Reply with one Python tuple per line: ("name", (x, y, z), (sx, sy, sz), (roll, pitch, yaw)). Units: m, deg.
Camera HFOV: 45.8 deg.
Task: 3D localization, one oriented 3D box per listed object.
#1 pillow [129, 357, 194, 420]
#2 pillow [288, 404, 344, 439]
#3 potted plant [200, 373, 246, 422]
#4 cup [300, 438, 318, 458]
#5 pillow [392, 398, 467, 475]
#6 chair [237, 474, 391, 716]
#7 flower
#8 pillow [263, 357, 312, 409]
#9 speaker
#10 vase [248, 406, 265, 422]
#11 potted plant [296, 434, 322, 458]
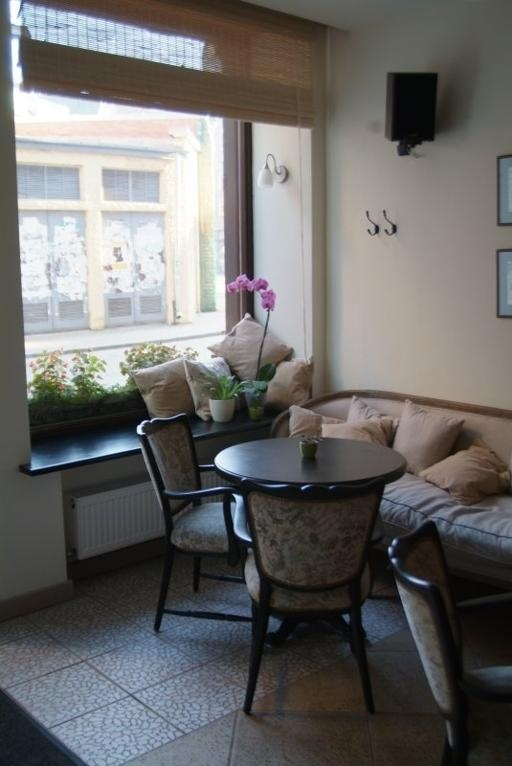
("pillow", (-0.576, 0.044, 3.672), (0.149, 0.251, 0.296), (6, 26, 42))
("pillow", (0.316, 0.193, 3.600), (0.207, 0.064, 0.213), (19, 38, 11))
("potted plant", (-0.203, 0.110, 3.756), (0.207, 0.248, 0.199), (-2, 2, 15))
("cup", (0.219, 0.262, 2.479), (0.062, 0.062, 0.073), (10, 21, 34))
("pillow", (0.864, 0.299, 3.254), (0.208, 0.369, 0.401), (-2, 15, -32))
("chair", (0.169, 0.620, 2.067), (0.497, 0.918, 0.599), (2, 18, 10))
("flower", (-0.028, -0.253, 3.908), (0.280, 0.815, 0.225), (8, 15, 16))
("pillow", (0.216, -0.005, 4.109), (0.217, 0.400, 0.402), (-4, 8, -38))
("speaker", (0.822, -1.452, 3.265), (0.249, 0.343, 0.185), (-2, 7, -13))
("vase", (0.000, 0.192, 3.807), (0.084, 0.082, 0.083), (1, 3, -36))
("potted plant", (0.206, 0.257, 2.495), (0.103, 0.093, 0.066), (5, 12, 32))
